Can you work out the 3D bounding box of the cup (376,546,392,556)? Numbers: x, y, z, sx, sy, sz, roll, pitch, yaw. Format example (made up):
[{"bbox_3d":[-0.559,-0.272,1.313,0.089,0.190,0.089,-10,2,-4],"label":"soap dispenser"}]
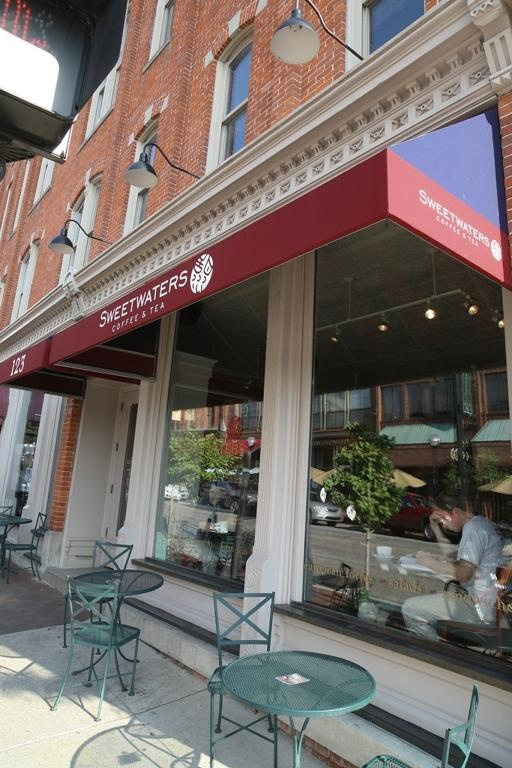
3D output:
[{"bbox_3d":[0.961,1.243,3.936,0.089,0.065,0.071,2,-7,-22],"label":"cup"}]

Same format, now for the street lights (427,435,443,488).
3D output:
[{"bbox_3d":[1.257,0.535,3.676,0.029,0.353,0.118,7,-10,-22],"label":"street lights"}]

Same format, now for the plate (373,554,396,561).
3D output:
[{"bbox_3d":[0.946,1.293,3.914,0.014,0.063,0.187,10,-11,-32],"label":"plate"}]

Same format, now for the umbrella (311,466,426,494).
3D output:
[{"bbox_3d":[0.849,0.753,4.197,0.172,0.167,1.143,9,-11,-31],"label":"umbrella"}]
